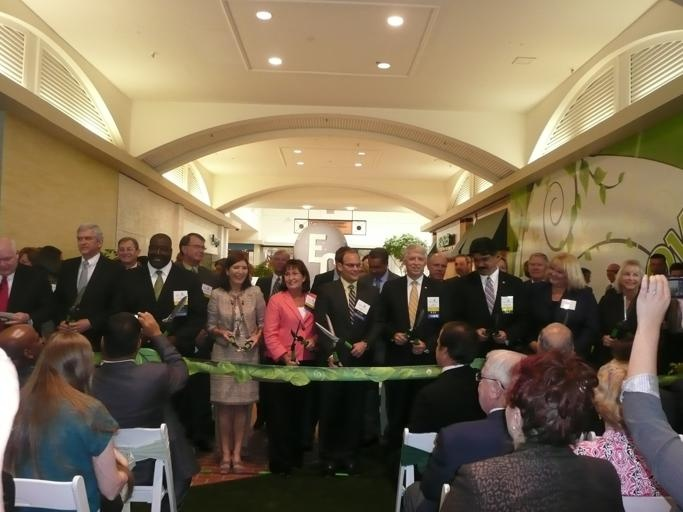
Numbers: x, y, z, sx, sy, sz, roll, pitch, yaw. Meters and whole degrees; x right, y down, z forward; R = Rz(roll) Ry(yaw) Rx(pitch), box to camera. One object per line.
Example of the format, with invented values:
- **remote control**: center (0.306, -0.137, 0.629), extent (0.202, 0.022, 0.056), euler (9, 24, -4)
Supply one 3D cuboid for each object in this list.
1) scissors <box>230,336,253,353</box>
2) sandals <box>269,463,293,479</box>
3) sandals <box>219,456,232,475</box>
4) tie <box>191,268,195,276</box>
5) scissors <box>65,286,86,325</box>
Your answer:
- **scissors**: center (-0.825, 0.731, 3.964), extent (0.142, 0.066, 0.139), euler (1, 5, -40)
- **sandals**: center (-0.475, 1.637, 3.751), extent (0.113, 0.039, 0.116), euler (1, -5, 15)
- **sandals**: center (-0.912, 1.645, 3.838), extent (0.102, 0.071, 0.255), euler (3, 0, -11)
- **tie**: center (-1.434, 0.156, 4.709), extent (0.035, 0.052, 0.017), euler (-2, -14, -9)
- **scissors**: center (-2.196, 0.404, 4.042), extent (0.051, 0.318, 0.039), euler (17, -31, 0)
